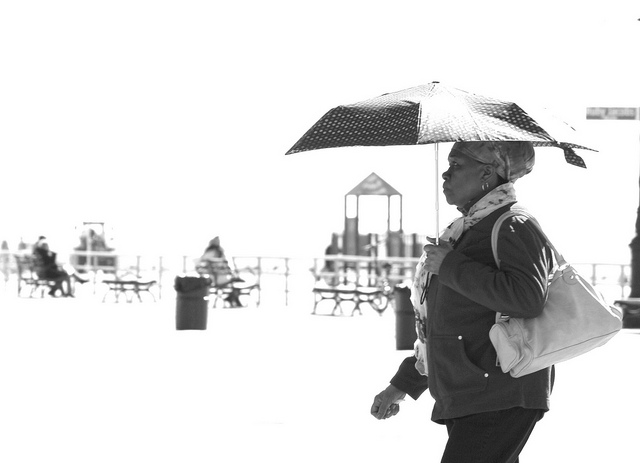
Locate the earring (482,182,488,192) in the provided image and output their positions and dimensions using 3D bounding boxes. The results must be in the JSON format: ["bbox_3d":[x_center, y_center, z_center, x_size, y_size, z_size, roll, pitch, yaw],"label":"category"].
[{"bbox_3d":[1.274,-0.340,12.699,0.066,0.070,0.029,0,1,5],"label":"earring"}]

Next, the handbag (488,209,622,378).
[{"bbox_3d":[1.646,0.487,12.657,1.160,1.127,0.442,-28,5,-33],"label":"handbag"}]

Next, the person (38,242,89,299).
[{"bbox_3d":[-3.844,0.584,24.393,0.550,0.792,1.050,0,-4,14],"label":"person"}]

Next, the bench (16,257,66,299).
[{"bbox_3d":[-4.221,0.717,24.632,0.758,0.713,0.668,-7,-11,32],"label":"bench"}]

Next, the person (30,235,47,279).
[{"bbox_3d":[-4.166,0.384,24.252,0.229,0.639,0.674,3,-4,-10],"label":"person"}]

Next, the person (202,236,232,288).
[{"bbox_3d":[-1.491,0.447,23.720,0.437,0.758,0.485,2,-5,-3],"label":"person"}]
